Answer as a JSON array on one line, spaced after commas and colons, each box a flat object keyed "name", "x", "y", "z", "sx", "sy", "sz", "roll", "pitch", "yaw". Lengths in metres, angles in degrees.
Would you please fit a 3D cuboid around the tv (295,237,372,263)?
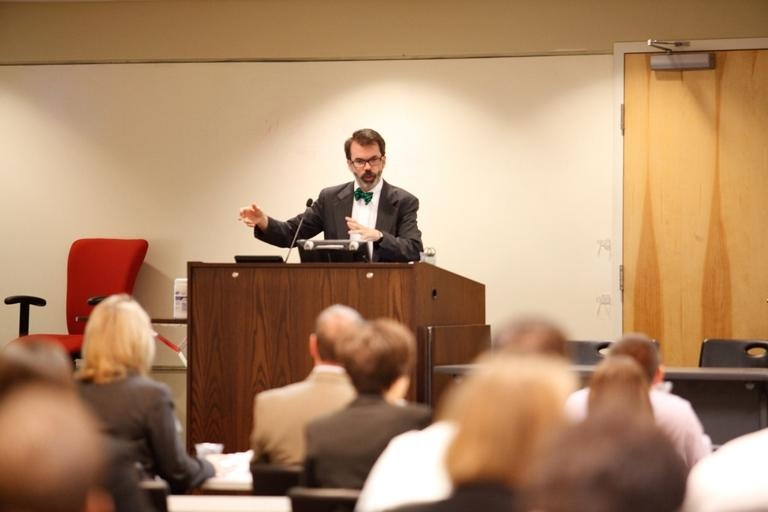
[{"name": "tv", "x": -0.215, "y": -0.026, "z": 2.997, "sx": 0.317, "sy": 0.111, "sz": 0.530, "roll": 1, "pitch": -2, "yaw": -3}]

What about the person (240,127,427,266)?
[{"name": "person", "x": -0.191, "y": -0.328, "z": 3.341, "sx": 0.773, "sy": 0.743, "sz": 0.831, "roll": 1, "pitch": -3, "yaw": 14}]
